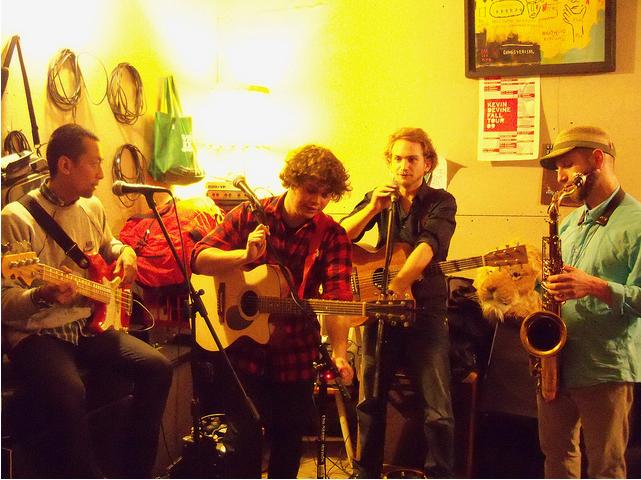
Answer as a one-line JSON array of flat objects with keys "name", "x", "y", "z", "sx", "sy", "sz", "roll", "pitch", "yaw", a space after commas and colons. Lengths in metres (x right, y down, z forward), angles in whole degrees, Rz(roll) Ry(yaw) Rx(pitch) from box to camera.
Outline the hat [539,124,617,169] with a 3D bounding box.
[{"name": "hat", "x": 1.520, "y": -0.568, "z": 3.323, "sx": 0.378, "sy": 0.209, "sz": 0.279, "roll": 2, "pitch": -3, "yaw": 13}]

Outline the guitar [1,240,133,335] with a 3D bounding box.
[{"name": "guitar", "x": -1.437, "y": 0.286, "z": 3.249, "sx": 0.085, "sy": 0.347, "sz": 0.659, "roll": -11, "pitch": -18, "yaw": 30}]

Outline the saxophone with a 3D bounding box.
[{"name": "saxophone", "x": 1.358, "y": 0.238, "z": 3.327, "sx": 0.381, "sy": 1.273, "sz": 0.410, "roll": 13, "pitch": 16, "yaw": 31}]

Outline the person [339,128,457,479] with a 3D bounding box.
[{"name": "person", "x": 0.704, "y": 0.483, "z": 4.181, "sx": 1.040, "sy": 2.622, "sz": 0.752, "roll": 1, "pitch": 1, "yaw": 30}]

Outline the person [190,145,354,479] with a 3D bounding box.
[{"name": "person", "x": -0.252, "y": 0.417, "z": 3.256, "sx": 0.871, "sy": 1.907, "sz": 0.690, "roll": -1, "pitch": 9, "yaw": -1}]

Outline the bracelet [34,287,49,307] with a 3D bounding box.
[{"name": "bracelet", "x": -1.536, "y": 0.318, "z": 3.077, "sx": 0.076, "sy": 0.103, "sz": 0.021, "roll": 0, "pitch": 9, "yaw": 7}]

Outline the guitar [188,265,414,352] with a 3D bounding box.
[{"name": "guitar", "x": -0.113, "y": 0.419, "z": 3.429, "sx": 1.288, "sy": 0.597, "sz": 0.208, "roll": -1, "pitch": -6, "yaw": 15}]

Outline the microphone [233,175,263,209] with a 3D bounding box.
[{"name": "microphone", "x": -0.424, "y": -0.283, "z": 3.200, "sx": 0.144, "sy": 0.182, "sz": 0.344, "roll": -2, "pitch": 10, "yaw": -9}]

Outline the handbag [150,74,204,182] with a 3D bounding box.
[{"name": "handbag", "x": -1.195, "y": -0.846, "z": 4.586, "sx": 0.329, "sy": 0.951, "sz": 0.334, "roll": -6, "pitch": 18, "yaw": -39}]
